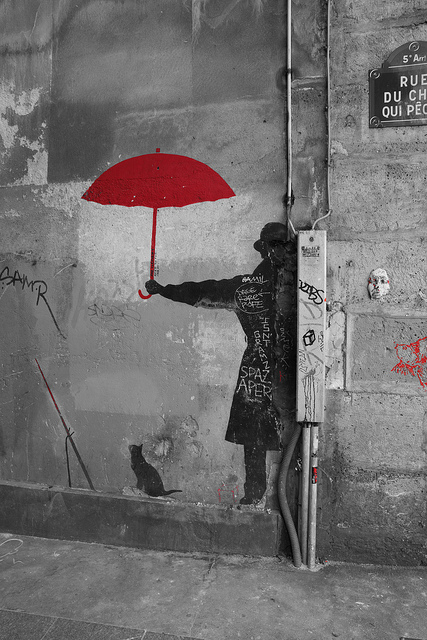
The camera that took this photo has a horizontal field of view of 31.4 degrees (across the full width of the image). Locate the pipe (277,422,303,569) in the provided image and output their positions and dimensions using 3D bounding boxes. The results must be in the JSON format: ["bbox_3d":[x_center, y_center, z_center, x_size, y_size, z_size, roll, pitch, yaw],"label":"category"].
[{"bbox_3d":[0.480,1.134,4.963,0.129,1.017,0.077,1,-5,15],"label":"pipe"}]

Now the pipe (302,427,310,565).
[{"bbox_3d":[0.600,1.171,5.014,0.085,1.023,0.098,1,18,10],"label":"pipe"}]

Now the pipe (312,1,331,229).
[{"bbox_3d":[0.737,-1.356,5.010,0.112,1.455,0.299,3,13,16],"label":"pipe"}]
